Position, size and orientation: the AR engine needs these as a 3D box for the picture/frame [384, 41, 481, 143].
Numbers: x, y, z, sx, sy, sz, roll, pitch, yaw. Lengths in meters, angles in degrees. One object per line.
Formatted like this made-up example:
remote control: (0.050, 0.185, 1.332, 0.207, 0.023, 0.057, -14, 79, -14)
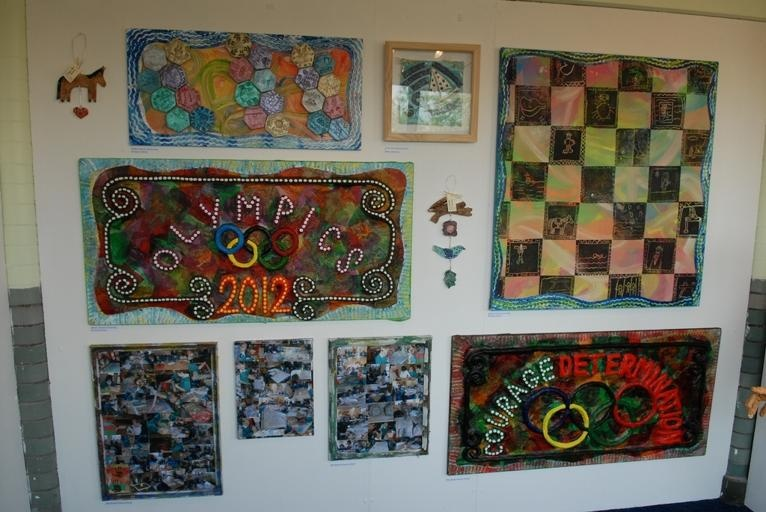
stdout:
picture/frame: (0.304, -1.104, 5.607, 0.762, 0.639, 0.053, 0, 7, -5)
